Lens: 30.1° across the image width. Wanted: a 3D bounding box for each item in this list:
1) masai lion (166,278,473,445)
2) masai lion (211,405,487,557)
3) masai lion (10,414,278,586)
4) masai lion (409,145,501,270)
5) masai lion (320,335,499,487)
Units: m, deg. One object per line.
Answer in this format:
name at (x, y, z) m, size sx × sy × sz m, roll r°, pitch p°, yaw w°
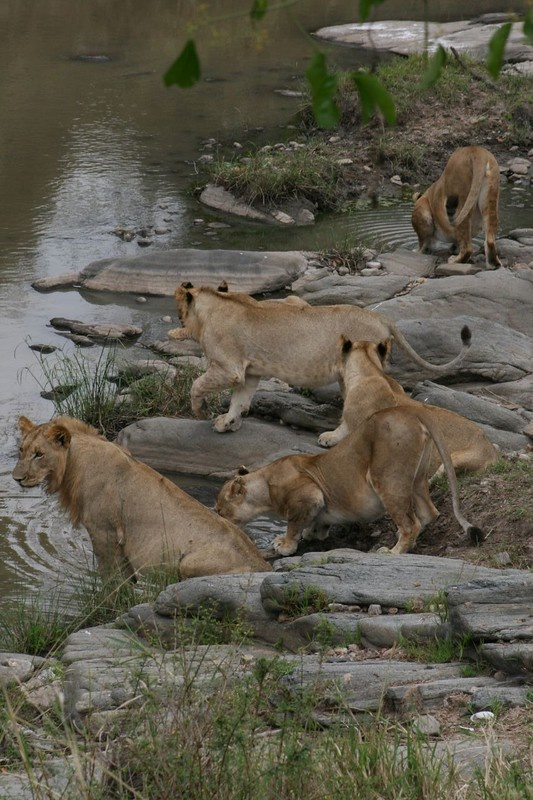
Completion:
masai lion at (0.485, -0.300, 8.938) m, size 3.554 × 1.564 × 0.800 m, roll 6°, pitch 40°, yaw 13°
masai lion at (0.592, 0.670, 7.106) m, size 2.096 × 0.922 × 0.539 m, roll -10°, pitch -10°, yaw 34°
masai lion at (-0.860, 0.762, 7.150) m, size 1.613 × 0.681 × 0.348 m, roll 28°, pitch 27°, yaw 9°
masai lion at (2.600, -2.624, 13.436) m, size 0.820 × 1.516 × 1.884 m, roll -9°, pitch 23°, yaw -8°
masai lion at (0.893, 0.145, 7.106) m, size 0.630 × 0.916 × 1.865 m, roll -5°, pitch 19°, yaw -11°
